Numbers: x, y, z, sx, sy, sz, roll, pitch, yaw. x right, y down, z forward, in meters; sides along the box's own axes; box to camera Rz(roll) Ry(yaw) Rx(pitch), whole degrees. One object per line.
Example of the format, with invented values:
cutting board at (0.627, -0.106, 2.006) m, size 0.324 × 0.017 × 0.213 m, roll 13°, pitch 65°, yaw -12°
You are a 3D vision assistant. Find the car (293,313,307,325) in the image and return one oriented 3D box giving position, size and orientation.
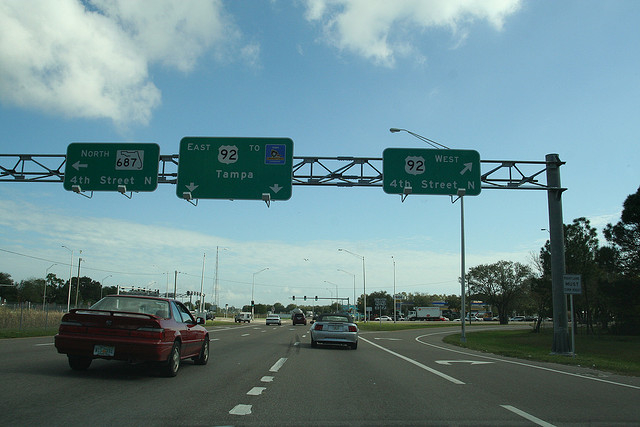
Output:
car at (-2.385, 12.128, 67.573) m, size 1.362 × 1.252 × 1.688 m, roll 1°, pitch -8°, yaw -3°

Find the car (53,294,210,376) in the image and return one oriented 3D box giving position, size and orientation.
car at (-5.285, 3.830, 19.469) m, size 2.347 × 1.541 × 4.124 m, roll -1°, pitch -7°, yaw 9°

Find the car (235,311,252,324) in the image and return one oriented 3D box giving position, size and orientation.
car at (-10.772, 14.434, 84.011) m, size 1.808 × 1.383 × 3.221 m, roll 0°, pitch -17°, yaw 0°

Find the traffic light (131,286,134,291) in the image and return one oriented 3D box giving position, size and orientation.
traffic light at (-23.891, 9.776, 75.887) m, size 0.427 × 0.437 × 0.423 m, roll 1°, pitch -2°, yaw -5°

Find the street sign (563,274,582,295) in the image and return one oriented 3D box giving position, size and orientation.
street sign at (11.913, 3.403, 28.095) m, size 0.761 × 0.833 × 0.525 m, roll -1°, pitch -7°, yaw 11°

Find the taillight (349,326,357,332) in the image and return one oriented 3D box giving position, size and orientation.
taillight at (1.527, 5.491, 27.887) m, size 0.391 × 0.402 × 0.214 m, roll 0°, pitch -11°, yaw -3°

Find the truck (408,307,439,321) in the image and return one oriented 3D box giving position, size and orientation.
truck at (24.198, 23.207, 136.799) m, size 5.256 × 2.844 × 3.402 m, roll 1°, pitch -11°, yaw 8°

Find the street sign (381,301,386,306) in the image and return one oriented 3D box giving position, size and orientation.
street sign at (9.983, 14.518, 94.512) m, size 0.833 × 0.696 × 0.270 m, roll 7°, pitch -9°, yaw -41°

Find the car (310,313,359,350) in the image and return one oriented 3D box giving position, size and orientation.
car at (0.653, 5.697, 28.130) m, size 1.696 × 1.183 × 3.162 m, roll 2°, pitch -11°, yaw 3°

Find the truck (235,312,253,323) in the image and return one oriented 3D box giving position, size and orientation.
truck at (-10.809, 14.513, 84.423) m, size 2.272 × 1.549 × 4.203 m, roll 0°, pitch -17°, yaw -2°
